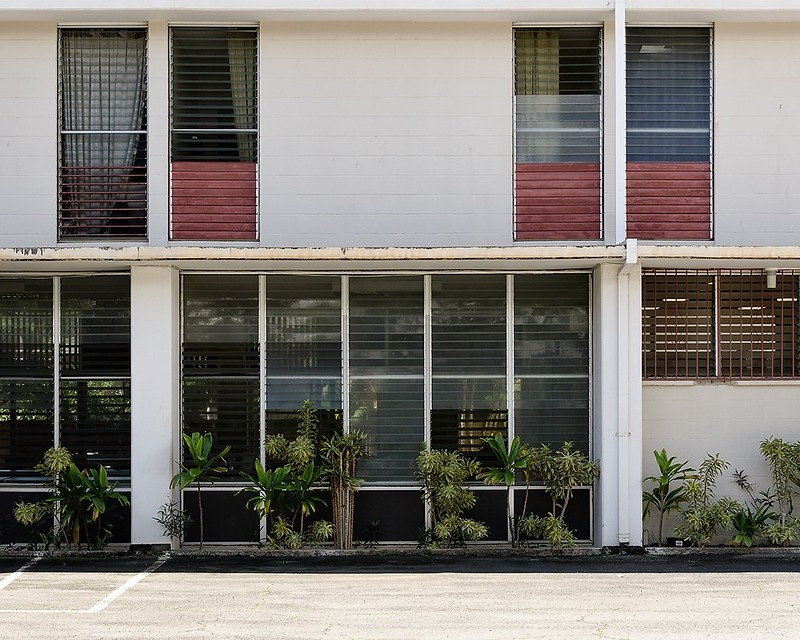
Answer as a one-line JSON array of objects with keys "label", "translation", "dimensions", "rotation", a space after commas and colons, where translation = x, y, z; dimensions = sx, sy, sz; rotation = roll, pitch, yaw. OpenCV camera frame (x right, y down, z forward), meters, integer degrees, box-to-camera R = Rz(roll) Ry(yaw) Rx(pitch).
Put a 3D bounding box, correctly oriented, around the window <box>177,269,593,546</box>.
[{"label": "window", "translation": [-0.289, 1.397, 23.172], "dimensions": [4.462, 2.543, 0.296], "rotation": [0, -4, -1]}]
